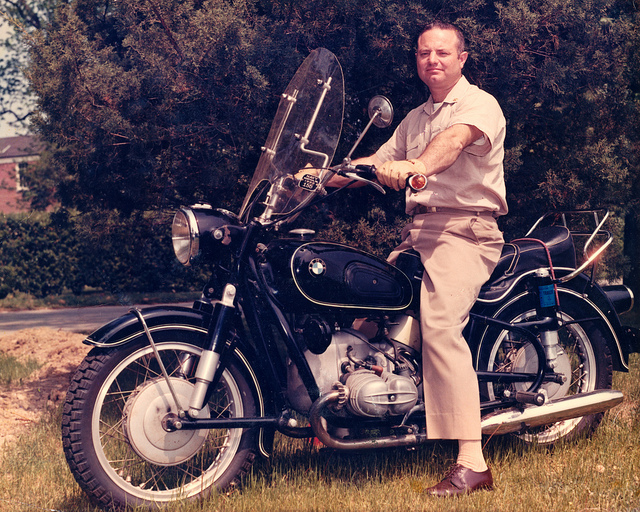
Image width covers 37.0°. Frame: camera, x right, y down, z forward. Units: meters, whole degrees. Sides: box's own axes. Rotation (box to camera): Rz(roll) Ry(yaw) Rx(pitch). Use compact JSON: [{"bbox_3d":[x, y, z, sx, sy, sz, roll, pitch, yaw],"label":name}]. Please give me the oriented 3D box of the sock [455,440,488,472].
[{"bbox_3d":[1.160,1.534,7.307,0.244,0.285,0.149,3,-9,-27],"label":"sock"}]
